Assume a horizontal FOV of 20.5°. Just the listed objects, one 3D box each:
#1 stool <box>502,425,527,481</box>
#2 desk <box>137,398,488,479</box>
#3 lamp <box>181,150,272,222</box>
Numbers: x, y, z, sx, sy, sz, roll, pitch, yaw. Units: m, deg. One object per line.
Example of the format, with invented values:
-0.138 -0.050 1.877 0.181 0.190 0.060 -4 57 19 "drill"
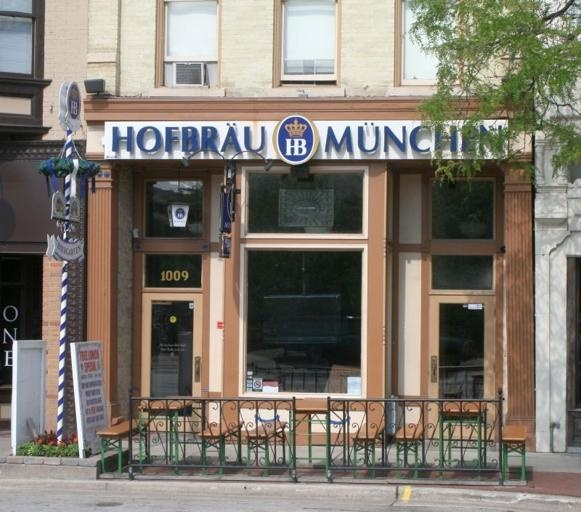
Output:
3.239 2.791 23.355 0.341 0.785 0.871 -2 -8 8 "stool"
0.382 2.685 24.514 5.417 1.290 3.622 -1 -8 1 "desk"
-0.984 -1.197 25.998 1.062 1.126 0.285 1 -5 -5 "lamp"
